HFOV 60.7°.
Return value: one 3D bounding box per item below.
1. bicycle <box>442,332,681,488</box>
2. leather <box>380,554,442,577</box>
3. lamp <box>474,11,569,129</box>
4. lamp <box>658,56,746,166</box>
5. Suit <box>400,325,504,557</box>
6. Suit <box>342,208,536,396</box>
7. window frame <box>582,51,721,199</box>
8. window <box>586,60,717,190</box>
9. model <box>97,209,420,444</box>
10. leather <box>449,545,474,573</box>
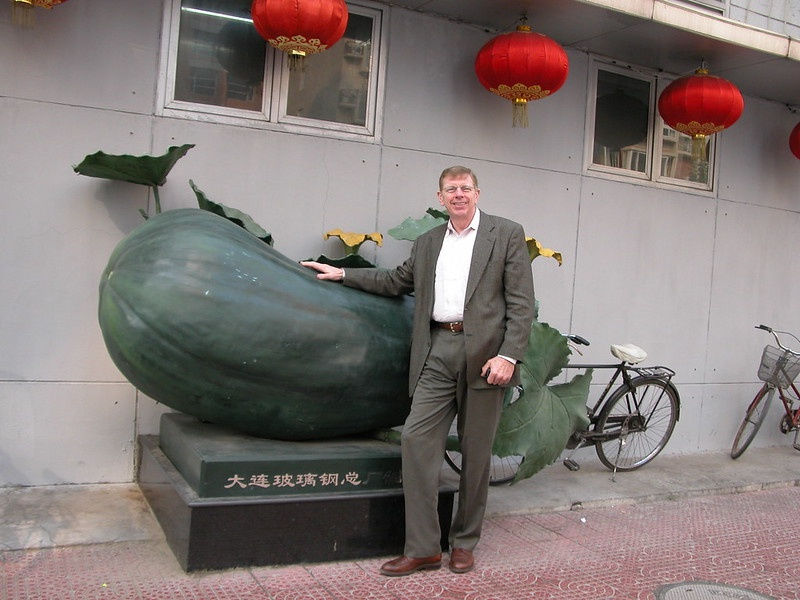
[{"bbox_3d":[1.599,0.854,6.178,2.131,1.283,1.094,-1,2,-21],"label":"bicycle"},{"bbox_3d":[0.065,1.482,3.867,0.320,0.148,0.119,5,-6,-18],"label":"leather"},{"bbox_3d":[0.895,-1.757,5.457,0.770,0.925,0.781,-1,2,-1],"label":"lamp"},{"bbox_3d":[2.648,-1.664,6.166,0.711,0.913,0.716,1,3,19],"label":"lamp"},{"bbox_3d":[0.284,0.815,3.971,0.585,1.268,0.287,1,7,-25],"label":"Suit"},{"bbox_3d":[0.239,0.050,4.102,1.348,1.238,0.488,0,-8,8],"label":"Suit"},{"bbox_3d":[2.227,-1.634,6.217,1.207,0.859,0.048,7,-6,-28],"label":"window frame"},{"bbox_3d":[2.235,-1.635,6.228,1.109,0.797,0.045,7,-7,-28],"label":"window"},{"bbox_3d":[-0.721,0.349,4.221,2.022,1.020,0.874,12,-46,-36],"label":"model"},{"bbox_3d":[0.355,1.498,3.922,0.141,0.103,0.127,5,7,6],"label":"leather"}]
